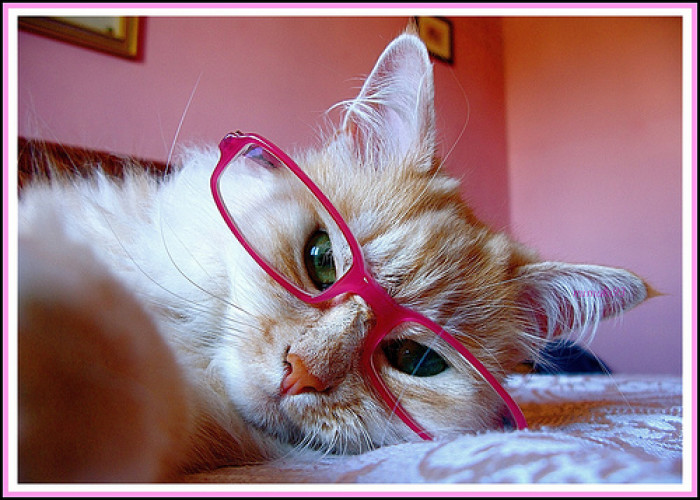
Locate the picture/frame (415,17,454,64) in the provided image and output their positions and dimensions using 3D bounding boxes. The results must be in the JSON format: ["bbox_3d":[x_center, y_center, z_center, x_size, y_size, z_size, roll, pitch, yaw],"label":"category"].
[{"bbox_3d":[0.149,-0.367,1.088,0.092,0.008,0.095,30,-28,27],"label":"picture/frame"}]

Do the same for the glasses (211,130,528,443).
[{"bbox_3d":[0.015,0.072,1.015,0.560,0.129,0.046,46,-3,5],"label":"glasses"}]
